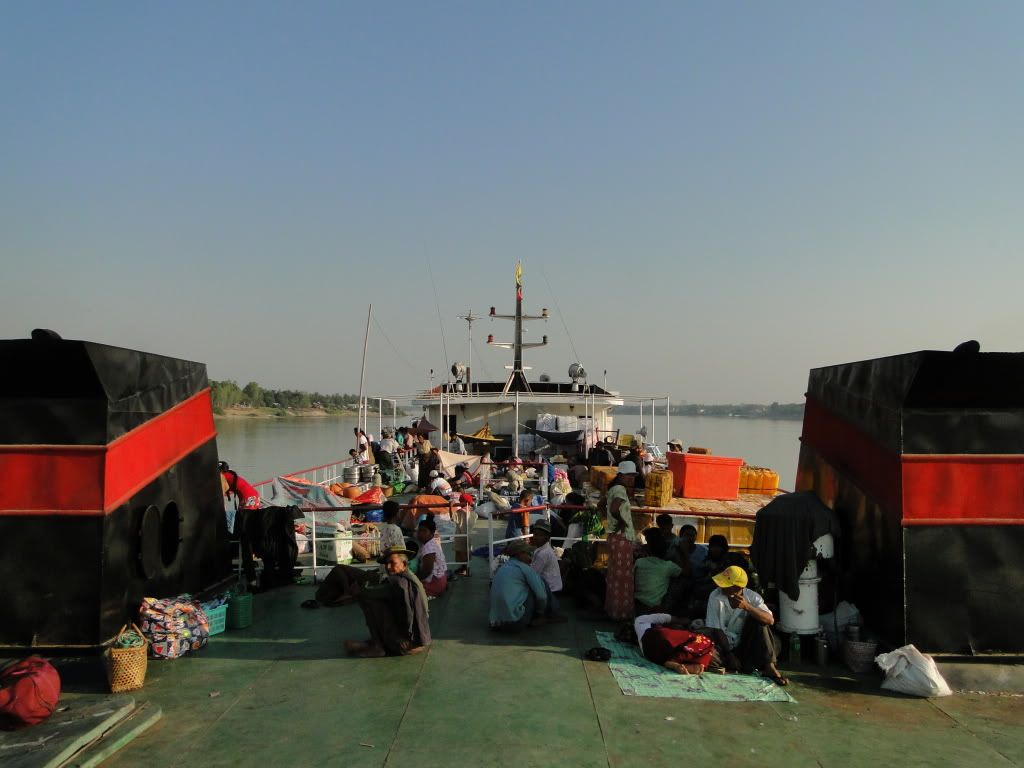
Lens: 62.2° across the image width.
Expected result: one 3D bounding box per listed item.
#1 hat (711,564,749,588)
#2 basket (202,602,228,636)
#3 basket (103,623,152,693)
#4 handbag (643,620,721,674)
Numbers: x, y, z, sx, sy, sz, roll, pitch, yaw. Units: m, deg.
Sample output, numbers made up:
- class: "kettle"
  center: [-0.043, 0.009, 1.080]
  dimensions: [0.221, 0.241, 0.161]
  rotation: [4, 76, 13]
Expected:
- class: "hat"
  center: [2.712, 2.429, 10.546]
  dimensions: [0.421, 0.383, 0.215]
  rotation: [10, 12, 42]
- class: "basket"
  center: [-4.037, 3.180, 11.560]
  dimensions: [0.271, 0.253, 0.401]
  rotation: [0, -10, -12]
- class: "basket"
  center: [-4.487, 3.180, 10.096]
  dimensions: [0.589, 0.806, 0.713]
  rotation: [5, -4, -15]
- class: "handbag"
  center: [2.063, 3.256, 10.450]
  dimensions: [0.955, 0.435, 0.408]
  rotation: [3, 9, 13]
